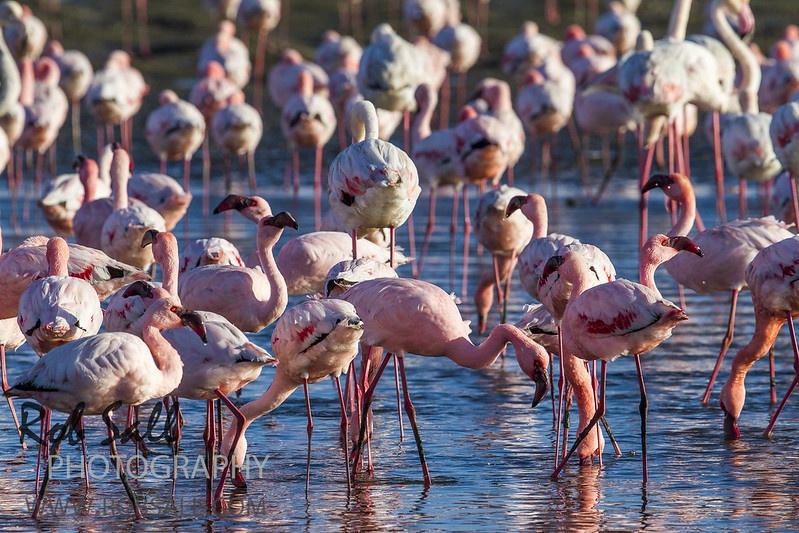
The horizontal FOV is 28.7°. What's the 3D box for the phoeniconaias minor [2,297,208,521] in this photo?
[{"bbox_3d":[-2.720,1.311,14.520,1.683,2.016,0.525,-1,4,-15],"label":"phoeniconaias minor"}]
